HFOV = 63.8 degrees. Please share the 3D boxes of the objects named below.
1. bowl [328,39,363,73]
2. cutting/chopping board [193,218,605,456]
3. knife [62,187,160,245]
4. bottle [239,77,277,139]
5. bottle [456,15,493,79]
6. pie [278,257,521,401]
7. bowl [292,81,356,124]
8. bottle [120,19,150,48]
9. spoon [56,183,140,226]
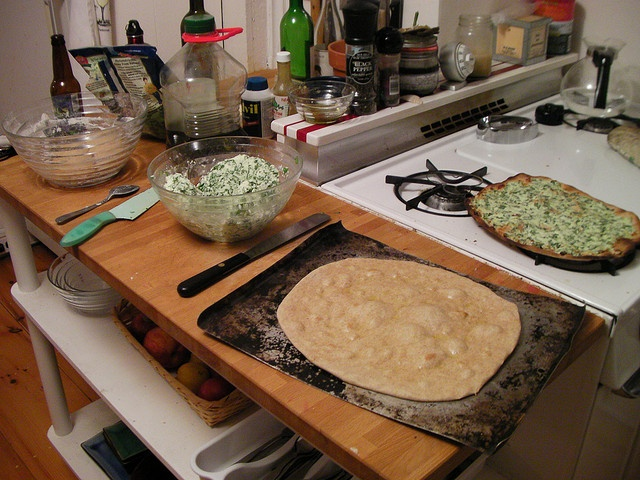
[{"bbox_3d":[0.069,-0.541,1.510,0.091,0.066,0.090,-1,42,1],"label":"bowl"},{"bbox_3d":[0.128,0.141,0.934,0.570,0.107,0.417,17,36,30],"label":"cutting/chopping board"},{"bbox_3d":[-0.457,-0.068,1.203,0.073,0.017,0.342,22,28,15],"label":"knife"},{"bbox_3d":[-0.179,-0.377,1.482,0.097,0.167,0.086,-13,33,-16],"label":"bottle"},{"bbox_3d":[0.515,-0.651,1.711,0.125,0.180,0.239,6,32,14],"label":"bottle"},{"bbox_3d":[0.152,0.072,1.033,0.403,0.030,0.419,16,24,3],"label":"pie"},{"bbox_3d":[0.008,-0.367,1.351,0.142,0.064,0.142,0,36,0],"label":"bowl"},{"bbox_3d":[-0.525,-0.584,1.450,0.045,0.057,0.075,-13,32,-16],"label":"bottle"},{"bbox_3d":[-0.529,-0.086,1.218,0.064,0.016,0.197,16,30,22],"label":"spoon"}]
